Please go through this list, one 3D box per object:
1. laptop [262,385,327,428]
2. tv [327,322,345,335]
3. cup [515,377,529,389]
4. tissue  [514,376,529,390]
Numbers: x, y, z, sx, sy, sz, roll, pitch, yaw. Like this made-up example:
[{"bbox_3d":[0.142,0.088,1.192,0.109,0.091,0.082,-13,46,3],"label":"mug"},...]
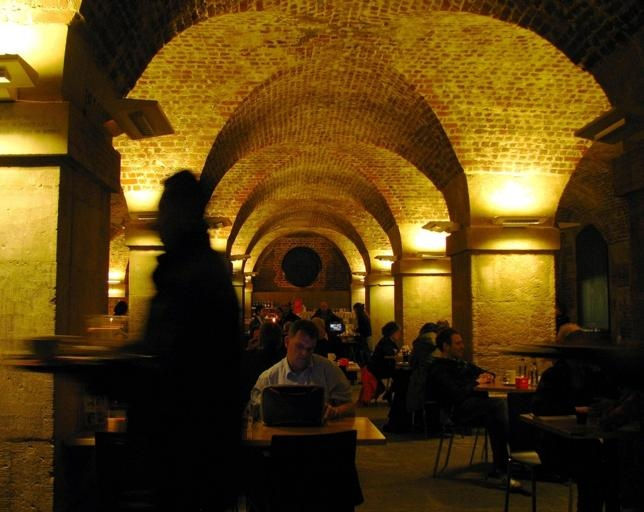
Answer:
[{"bbox_3d":[-0.290,1.208,5.178,0.565,0.323,0.376,4,-12,-24],"label":"laptop"},{"bbox_3d":[0.451,2.378,20.938,0.671,0.387,0.352,2,-10,-7],"label":"tv"},{"bbox_3d":[2.402,1.539,7.686,0.146,0.095,0.135,-2,-2,0],"label":"cup"},{"bbox_3d":[2.394,1.538,7.689,0.155,0.128,0.146,-3,-5,16],"label":"tissue "}]
